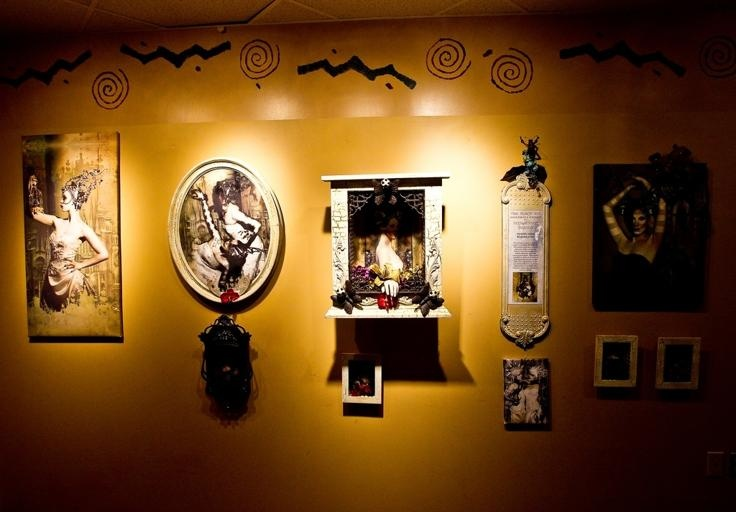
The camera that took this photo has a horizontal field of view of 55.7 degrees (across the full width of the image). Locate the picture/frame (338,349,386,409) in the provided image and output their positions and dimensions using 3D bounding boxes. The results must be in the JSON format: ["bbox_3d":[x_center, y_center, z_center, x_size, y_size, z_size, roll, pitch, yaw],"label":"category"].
[{"bbox_3d":[-0.024,0.813,4.651,0.376,0.478,0.041,0,-1,0],"label":"picture/frame"}]

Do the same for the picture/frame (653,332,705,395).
[{"bbox_3d":[2.063,0.699,4.591,0.382,0.527,0.053,1,-2,2],"label":"picture/frame"}]

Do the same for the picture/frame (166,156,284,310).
[{"bbox_3d":[-0.926,-0.185,4.667,0.976,1.242,0.138,0,0,6],"label":"picture/frame"}]

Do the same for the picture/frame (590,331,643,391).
[{"bbox_3d":[1.642,0.686,4.607,0.267,0.351,0.031,0,7,5],"label":"picture/frame"}]
